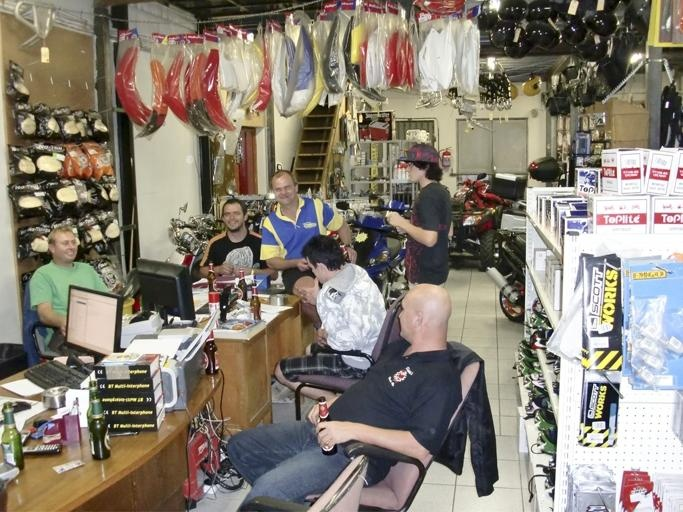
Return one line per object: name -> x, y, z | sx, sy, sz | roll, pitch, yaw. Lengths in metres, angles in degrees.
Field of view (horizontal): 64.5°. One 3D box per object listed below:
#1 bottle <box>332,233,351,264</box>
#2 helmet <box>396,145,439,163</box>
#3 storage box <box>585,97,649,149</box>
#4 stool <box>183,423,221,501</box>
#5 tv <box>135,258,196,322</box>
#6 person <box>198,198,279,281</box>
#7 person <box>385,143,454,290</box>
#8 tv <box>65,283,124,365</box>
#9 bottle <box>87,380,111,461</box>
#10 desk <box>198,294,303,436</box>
bottle -> 0.007, -0.105, 5.286 | 0.148, 0.202, 0.331 | -10, 28, 9
helmet -> 0.715, -0.889, 4.805 | 0.235, 0.128, 0.184 | 16, 15, 0
storage box -> 3.497, -1.724, 6.868 | 0.561, 0.933, 0.632 | -8, 20, 18
stool -> -0.906, 1.316, 3.493 | 0.149, 0.425, 0.296 | 4, 1, 17
tv -> -1.159, 0.251, 3.484 | 0.400, 0.395, 0.164 | 8, 22, 25
person -> -1.018, -0.106, 5.245 | 0.813, 0.889, 0.542 | -2, 11, -5
person -> 0.715, -0.334, 4.839 | 0.489, 1.300, 0.757 | 4, 13, 20
tv -> -1.500, 0.430, 3.145 | 0.125, 0.442, 0.431 | -8, -18, 13
bottle -> -1.075, 0.716, 2.384 | 0.080, 0.320, 0.204 | -6, 13, -27
desk -> -0.652, 0.769, 3.774 | 0.291, 0.496, 0.951 | 2, 12, 12
